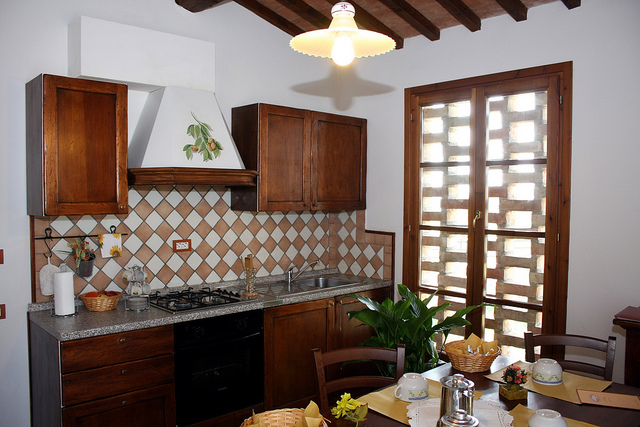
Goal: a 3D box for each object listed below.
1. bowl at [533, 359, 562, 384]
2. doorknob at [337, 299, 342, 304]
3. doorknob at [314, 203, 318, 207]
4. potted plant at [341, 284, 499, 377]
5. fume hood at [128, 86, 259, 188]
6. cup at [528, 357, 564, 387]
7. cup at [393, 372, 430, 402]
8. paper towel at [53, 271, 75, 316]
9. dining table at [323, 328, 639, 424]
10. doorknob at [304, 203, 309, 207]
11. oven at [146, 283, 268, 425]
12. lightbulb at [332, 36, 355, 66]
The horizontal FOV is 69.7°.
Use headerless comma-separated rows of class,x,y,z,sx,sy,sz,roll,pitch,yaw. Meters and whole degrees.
bowl,1.378,0.951,2.767,0.132,0.088,0.135,1,-2,0
doorknob,0.183,0.820,4.293,0.031,0.057,0.031,0,-14,-24
doorknob,-0.037,-0.079,4.454,0.031,0.032,0.016,5,-8,-35
potted plant,0.706,0.998,3.794,1.105,0.685,0.978,13,-18,-36
fume hood,-1.053,-0.563,3.743,1.136,0.802,0.763,2,-6,-42
cup,1.385,0.972,2.841,0.212,0.139,0.178,2,-5,29
cup,0.528,1.006,2.680,0.206,0.133,0.170,-4,3,-6
paper towel,-1.926,0.596,3.432,0.155,0.318,0.102,-3,4,-12
dining table,0.936,0.946,2.673,1.831,0.324,0.919,-2,3,-1
doorknob,-0.131,-0.081,4.384,0.043,0.042,0.023,2,-5,-37
oven,-0.877,1.183,3.823,0.771,1.005,0.400,-4,4,-33
lightbulb,0.126,-0.883,2.488,0.135,0.187,0.137,2,13,14
